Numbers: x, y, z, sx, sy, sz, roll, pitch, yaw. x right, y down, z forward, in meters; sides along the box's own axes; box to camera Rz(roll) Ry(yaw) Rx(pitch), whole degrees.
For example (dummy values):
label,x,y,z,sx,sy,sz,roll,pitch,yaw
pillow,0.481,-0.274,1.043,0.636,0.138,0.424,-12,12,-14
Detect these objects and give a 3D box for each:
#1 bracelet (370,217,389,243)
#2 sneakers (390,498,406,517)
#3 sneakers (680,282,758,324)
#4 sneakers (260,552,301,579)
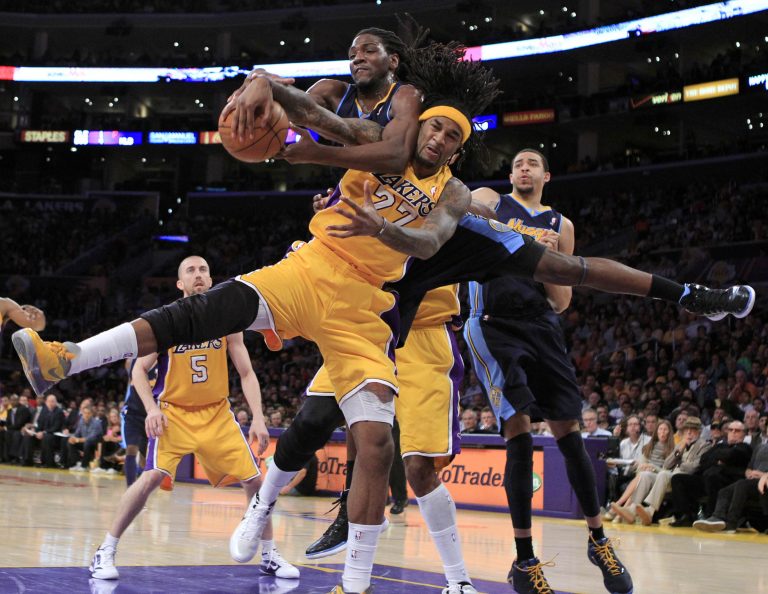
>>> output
label,x,y,z,sx,sy,sz,roll,pitch,yaw
bracelet,-0.017,-0.387,4.495,0.097,0.127,0.055,-34,13,44
sneakers,0.191,2.677,10.048,0.123,0.167,0.371,-3,-13,8
sneakers,2.188,0.037,5.344,0.256,0.219,0.593,1,-1,-38
sneakers,-0.769,1.958,5.819,0.323,0.141,0.136,0,0,42
